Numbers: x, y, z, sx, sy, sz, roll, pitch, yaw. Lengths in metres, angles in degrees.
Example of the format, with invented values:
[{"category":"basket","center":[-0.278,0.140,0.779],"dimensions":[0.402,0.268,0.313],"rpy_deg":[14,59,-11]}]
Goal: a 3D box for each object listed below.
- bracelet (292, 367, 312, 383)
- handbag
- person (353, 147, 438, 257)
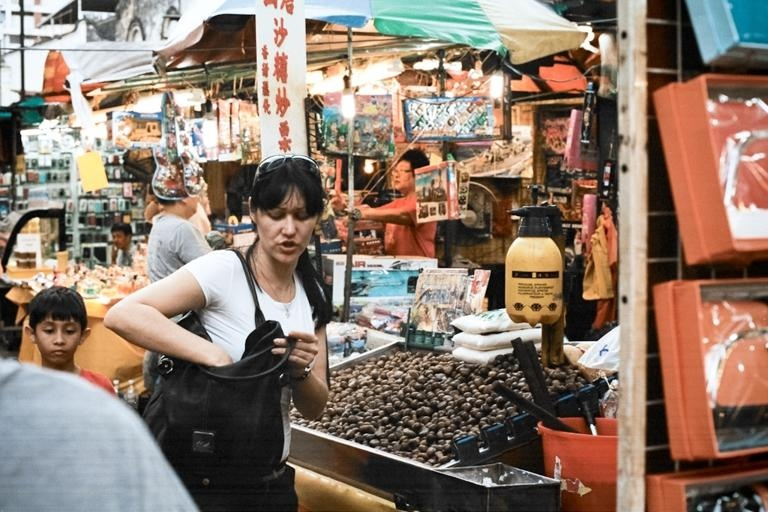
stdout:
[{"category":"bracelet","center":[-0.282,0.419,2.890],"dimensions":[0.060,0.022,0.062],"rpy_deg":[-25,14,39]},{"category":"handbag","center":[-0.609,0.560,2.875],"dimensions":[0.559,0.626,0.357],"rpy_deg":[7,-21,-11]},{"category":"person","center":[0.117,-0.279,6.409],"dimensions":[0.597,0.947,0.567],"rpy_deg":[-6,9,-33]}]
